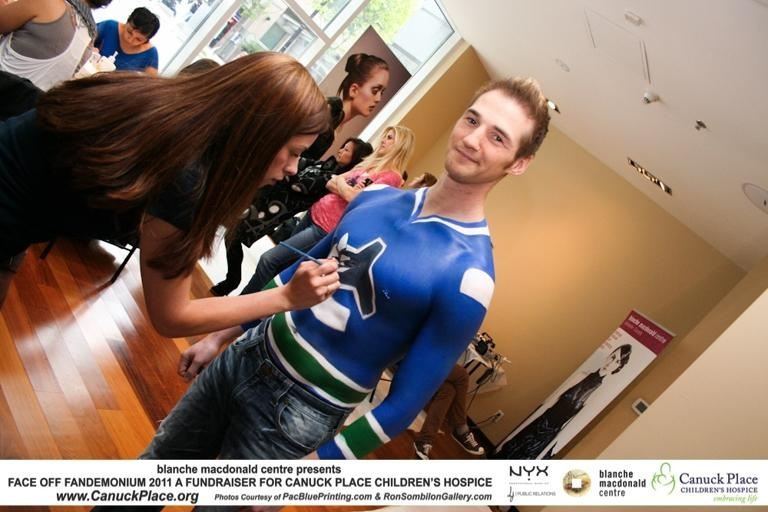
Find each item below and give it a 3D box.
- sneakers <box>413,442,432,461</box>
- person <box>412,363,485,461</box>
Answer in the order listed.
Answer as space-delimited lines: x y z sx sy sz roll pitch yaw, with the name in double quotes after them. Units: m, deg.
0.304 1.505 3.824 0.094 0.109 0.256 10 9 -13 "sneakers"
0.617 1.361 4.463 0.529 0.856 0.667 9 9 38 "person"
